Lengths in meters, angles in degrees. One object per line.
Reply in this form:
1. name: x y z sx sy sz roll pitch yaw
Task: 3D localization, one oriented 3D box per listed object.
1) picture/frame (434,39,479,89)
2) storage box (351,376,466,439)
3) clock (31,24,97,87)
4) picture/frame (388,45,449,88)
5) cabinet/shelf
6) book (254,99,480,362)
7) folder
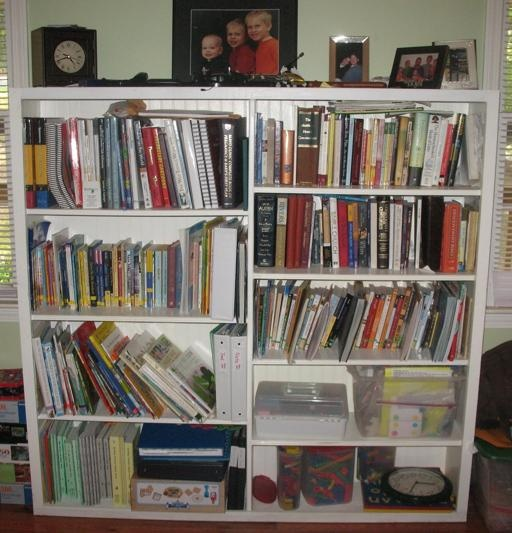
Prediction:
1. picture/frame: 0.810 -0.805 2.242 0.074 0.187 0.195 -26 27 -15
2. storage box: 0.621 0.556 2.225 0.428 0.265 0.255 -5 -18 26
3. clock: -0.740 -0.802 2.170 0.216 0.197 0.119 -16 27 -41
4. picture/frame: 0.595 -0.721 2.055 0.243 0.200 0.031 11 -11 36
5. cabinet/shelf: -0.017 0.134 2.074 1.764 1.522 0.455 0 8 0
6. book: 0.408 -0.178 2.405 1.009 0.915 0.892 0 12 3
7. folder: -0.094 0.391 2.063 0.124 0.290 0.309 0 11 -1
